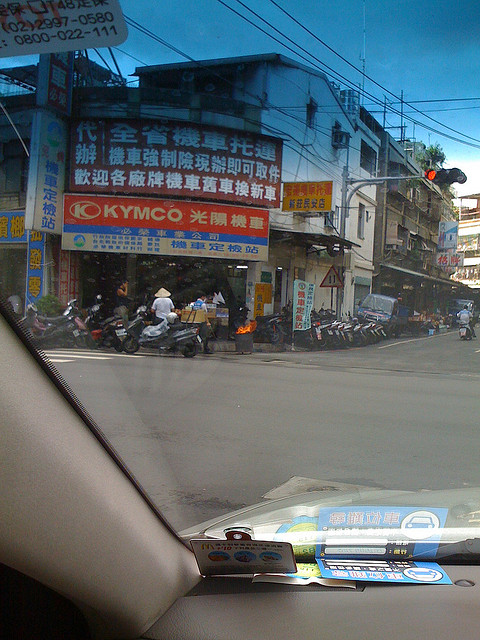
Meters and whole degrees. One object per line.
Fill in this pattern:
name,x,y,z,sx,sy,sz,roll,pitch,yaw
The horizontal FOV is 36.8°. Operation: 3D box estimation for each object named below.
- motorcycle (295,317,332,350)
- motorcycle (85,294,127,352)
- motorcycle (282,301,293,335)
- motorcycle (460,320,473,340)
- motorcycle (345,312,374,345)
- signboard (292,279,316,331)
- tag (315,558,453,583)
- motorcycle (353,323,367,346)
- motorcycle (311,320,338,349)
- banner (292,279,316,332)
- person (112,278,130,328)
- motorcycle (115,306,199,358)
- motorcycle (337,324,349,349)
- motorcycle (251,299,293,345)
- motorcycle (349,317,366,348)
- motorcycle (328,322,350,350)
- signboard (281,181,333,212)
motorcycle,1.618,0.362,15.556,0.441,0.512,0.833,0,6,9
motorcycle,-1.447,0.051,7.643,0.789,0.565,0.320,3,17,43
motorcycle,1.090,-0.023,16.237,0.229,0.453,0.681,3,2,6
motorcycle,4.371,0.210,13.721,0.253,0.365,0.609,1,10,26
motorcycle,2.552,0.195,16.083,0.765,0.517,0.433,20,-9,8
signboard,1.387,-0.281,15.437,0.060,1.144,1.032,12,16,41
tag,0.396,0.689,1.996,0.352,0.020,0.142,3,2,1
motorcycle,2.634,0.331,15.892,0.366,0.349,0.174,2,2,-32
motorcycle,1.848,0.304,15.647,0.421,0.442,0.618,4,2,22
banner,1.385,-0.266,15.432,0.061,1.173,1.061,14,18,42
person,-1.889,-0.260,11.519,0.268,0.270,0.805,-10,21,-9
motorcycle,-1.166,0.152,10.665,1.163,0.673,0.584,6,-17,-23
motorcycle,2.277,0.347,15.730,0.208,0.375,0.454,4,2,16
motorcycle,0.742,0.042,16.237,0.660,0.926,0.646,-5,9,-35
motorcycle,2.647,0.305,15.914,0.271,0.388,0.603,-1,15,2
motorcycle,2.263,0.364,15.685,0.631,0.402,0.327,3,3,8
signboard,1.557,-2.805,16.505,1.000,0.727,0.823,-3,6,-20
